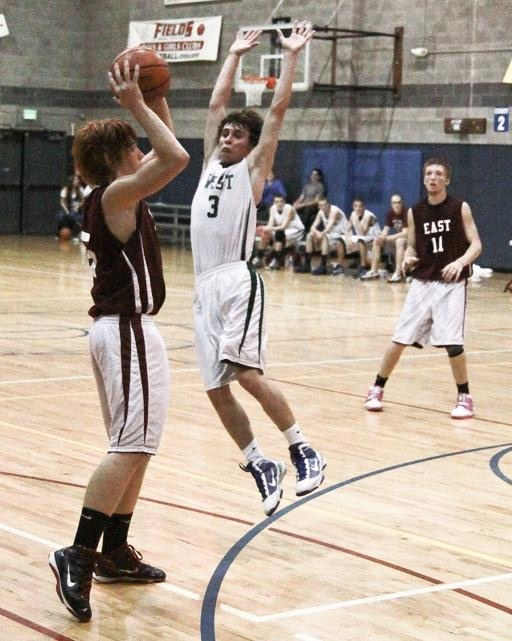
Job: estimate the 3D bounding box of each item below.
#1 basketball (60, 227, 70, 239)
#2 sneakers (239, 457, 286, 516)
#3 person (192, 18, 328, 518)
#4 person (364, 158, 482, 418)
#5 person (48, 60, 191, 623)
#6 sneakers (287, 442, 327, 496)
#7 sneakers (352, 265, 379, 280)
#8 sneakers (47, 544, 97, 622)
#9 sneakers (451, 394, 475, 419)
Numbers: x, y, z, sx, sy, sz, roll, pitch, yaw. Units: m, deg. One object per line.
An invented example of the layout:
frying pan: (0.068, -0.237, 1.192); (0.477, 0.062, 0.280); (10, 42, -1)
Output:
basketball: (-5.843, -2.725, 20.001); (0.297, 0.323, 0.280); (-7, -30, 12)
sneakers: (0.028, 0.598, 2.224); (0.137, 0.186, 0.264); (2, 1, 1)
person: (0.016, -0.261, 2.433); (0.419, 1.640, 0.702); (2, 1, -19)
person: (1.187, -0.235, 4.548); (0.696, 1.802, 0.369); (2, 1, 18)
person: (-0.348, -0.001, 1.712); (0.301, 1.232, 0.463); (2, 1, -8)
sneakers: (0.182, 0.532, 2.301); (0.127, 0.169, 0.196); (2, 1, 2)
sneakers: (2.456, -0.995, 13.935); (0.580, 0.223, 0.249); (5, -5, -41)
sneakers: (-0.441, 0.641, 1.576); (0.108, 0.144, 0.203); (2, 1, -14)
sneakers: (1.440, 0.602, 4.509); (0.131, 0.172, 0.293); (2, 1, 25)
